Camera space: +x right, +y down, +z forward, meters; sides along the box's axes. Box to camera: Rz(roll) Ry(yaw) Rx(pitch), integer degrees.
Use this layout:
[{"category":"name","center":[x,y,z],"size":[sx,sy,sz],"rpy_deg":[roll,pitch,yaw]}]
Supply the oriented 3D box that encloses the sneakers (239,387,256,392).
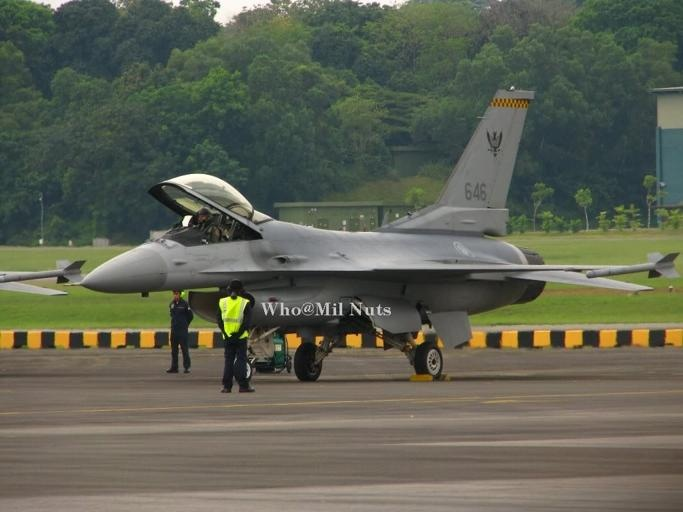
[{"category":"sneakers","center":[-4.241,6.013,69.791],"size":[0.669,0.244,0.261],"rpy_deg":[-4,3,-14]}]
